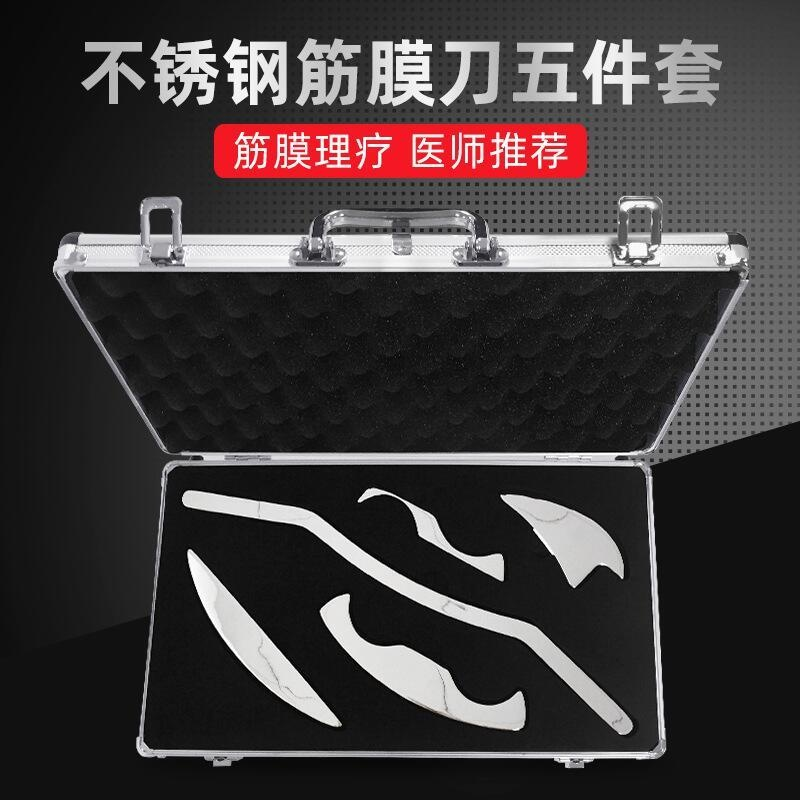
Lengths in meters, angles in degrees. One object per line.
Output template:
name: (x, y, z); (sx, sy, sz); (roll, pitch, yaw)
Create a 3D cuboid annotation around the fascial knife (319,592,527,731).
fascial knife: (-0.030, 0.370, 1.812); (0.127, 0.020, 0.439); (-30, 12, -8)

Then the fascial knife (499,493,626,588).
fascial knife: (0.239, 0.198, 1.697); (0.237, 0.109, 0.018); (36, 24, -16)

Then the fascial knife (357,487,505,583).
fascial knife: (0.055, 0.196, 1.713); (0.247, 0.012, 0.077); (33, 42, 13)
